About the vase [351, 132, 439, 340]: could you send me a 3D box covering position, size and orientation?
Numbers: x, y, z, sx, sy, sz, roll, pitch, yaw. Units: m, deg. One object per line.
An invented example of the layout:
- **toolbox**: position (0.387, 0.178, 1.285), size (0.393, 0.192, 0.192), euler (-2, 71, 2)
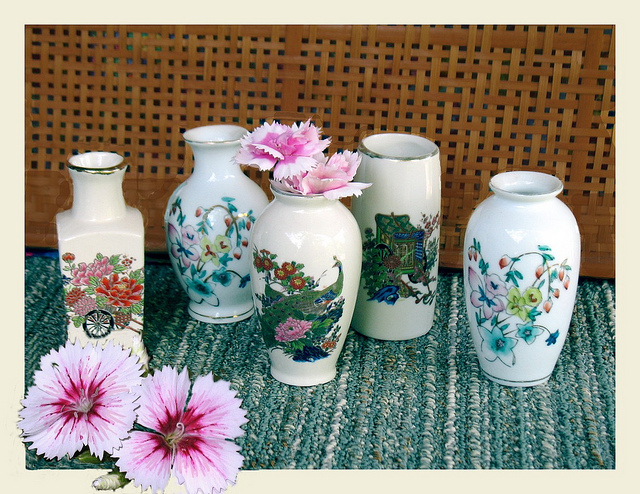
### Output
- **vase**: position (0.102, -0.010, 0.783), size (0.121, 0.248, 0.133), euler (2, 32, 1)

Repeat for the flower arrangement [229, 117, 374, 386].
- **flower arrangement**: position (-0.020, 0.011, 0.701), size (0.148, 0.292, 0.140), euler (-2, 32, -5)

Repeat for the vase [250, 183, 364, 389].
- **vase**: position (-0.010, 0.042, 0.709), size (0.144, 0.234, 0.129), euler (-3, 32, -5)

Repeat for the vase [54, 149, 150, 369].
- **vase**: position (-0.270, 0.023, 0.733), size (0.121, 0.280, 0.117), euler (-16, 32, -37)

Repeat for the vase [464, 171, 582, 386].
- **vase**: position (0.234, 0.048, 0.705), size (0.129, 0.228, 0.099), euler (9, 33, 13)

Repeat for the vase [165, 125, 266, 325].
- **vase**: position (-0.139, -0.028, 0.807), size (0.129, 0.242, 0.130), euler (-23, 39, -33)

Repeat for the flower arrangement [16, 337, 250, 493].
- **flower arrangement**: position (-0.173, 0.157, 0.538), size (0.208, 0.095, 0.084), euler (9, 33, 12)
